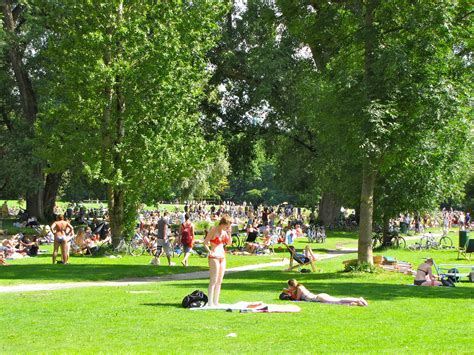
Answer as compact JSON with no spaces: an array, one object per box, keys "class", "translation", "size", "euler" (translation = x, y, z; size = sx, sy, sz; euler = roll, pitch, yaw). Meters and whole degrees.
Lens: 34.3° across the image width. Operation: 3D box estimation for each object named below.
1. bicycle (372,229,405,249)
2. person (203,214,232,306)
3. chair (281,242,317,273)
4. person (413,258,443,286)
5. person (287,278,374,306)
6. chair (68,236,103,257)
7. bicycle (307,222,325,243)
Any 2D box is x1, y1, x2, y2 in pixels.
[{"class":"bicycle","translation":[9.531,3.853,47.677],"size":[2.098,1.415,1.087],"euler":[-2,8,6]},{"class":"person","translation":[-0.685,2.923,27.206],"size":[0.961,3.269,1.196],"euler":[1,-6,-1]},{"class":"chair","translation":[3.170,3.920,37.409],"size":[1.571,1.465,1.219],"euler":[1,0,-13]},{"class":"person","translation":[8.207,4.081,32.930],"size":[0.972,1.273,1.227],"euler":[3,9,-12]},{"class":"person","translation":[3.172,4.296,28.677],"size":[2.908,0.937,1.125],"euler":[0,-7,6]},{"class":"chair","translation":[-7.999,3.670,40.189],"size":[1.322,0.515,1.026],"euler":[9,-1,3]},{"class":"bicycle","translation":[5.672,3.857,53.081],"size":[1.185,1.592,1.174],"euler":[1,-8,-8]}]
